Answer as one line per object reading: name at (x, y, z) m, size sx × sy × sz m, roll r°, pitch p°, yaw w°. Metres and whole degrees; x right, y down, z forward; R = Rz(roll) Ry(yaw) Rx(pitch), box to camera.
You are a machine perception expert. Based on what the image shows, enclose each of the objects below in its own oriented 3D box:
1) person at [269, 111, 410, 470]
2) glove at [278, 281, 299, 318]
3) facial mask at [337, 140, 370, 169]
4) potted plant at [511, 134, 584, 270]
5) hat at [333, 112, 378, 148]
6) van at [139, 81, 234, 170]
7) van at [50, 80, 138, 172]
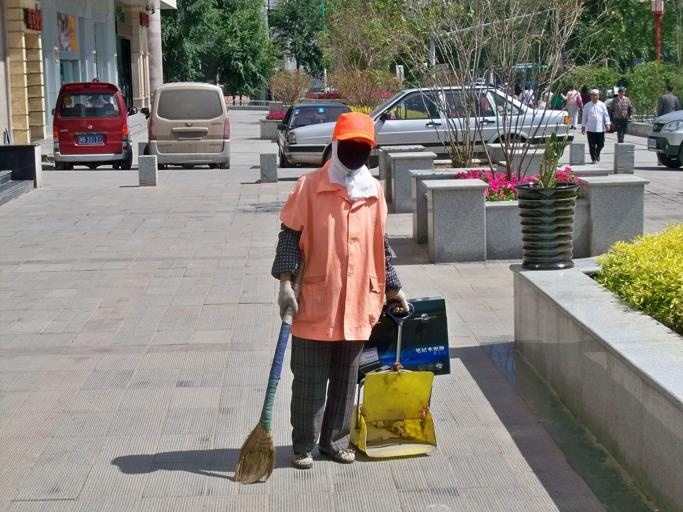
person at (-0.003, 0.203, 3.410) m, size 0.762 × 1.987 × 0.591 m, roll 4°, pitch -3°, yaw -21°
glove at (-0.282, 0.227, 3.228) m, size 0.106 × 0.208 × 0.134 m, roll -1°, pitch 12°, yaw -4°
facial mask at (0.061, -0.545, 3.250) m, size 0.176 × 0.133 × 0.235 m, roll 0°, pitch -2°, yaw -7°
potted plant at (1.834, -0.499, 5.303) m, size 0.598 × 1.162 × 0.576 m, roll -6°, pitch 7°, yaw -21°
hat at (0.072, -0.696, 3.274) m, size 0.229 × 0.192 × 0.264 m, roll -1°, pitch 12°, yaw 0°
van at (-4.865, -4.188, 19.148) m, size 2.318 × 2.826 × 2.945 m, roll 1°, pitch 16°, yaw -11°
van at (-7.980, -4.158, 19.310) m, size 1.845 × 2.226 × 4.678 m, roll -1°, pitch 5°, yaw -16°
